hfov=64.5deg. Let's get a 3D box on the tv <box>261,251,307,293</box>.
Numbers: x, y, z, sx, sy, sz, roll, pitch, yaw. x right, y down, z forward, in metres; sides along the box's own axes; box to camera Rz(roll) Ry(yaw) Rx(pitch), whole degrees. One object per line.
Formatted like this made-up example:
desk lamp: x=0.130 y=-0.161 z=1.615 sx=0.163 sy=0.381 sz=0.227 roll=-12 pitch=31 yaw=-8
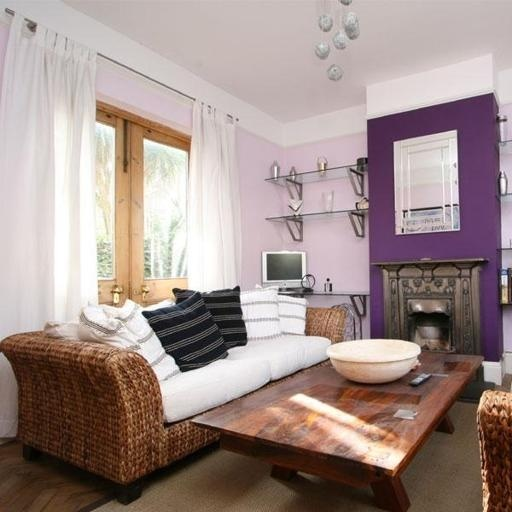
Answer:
tv: x=0.319 y=0.178 z=4.730 sx=0.464 sy=0.369 sz=0.062 roll=2 pitch=-5 yaw=-28
